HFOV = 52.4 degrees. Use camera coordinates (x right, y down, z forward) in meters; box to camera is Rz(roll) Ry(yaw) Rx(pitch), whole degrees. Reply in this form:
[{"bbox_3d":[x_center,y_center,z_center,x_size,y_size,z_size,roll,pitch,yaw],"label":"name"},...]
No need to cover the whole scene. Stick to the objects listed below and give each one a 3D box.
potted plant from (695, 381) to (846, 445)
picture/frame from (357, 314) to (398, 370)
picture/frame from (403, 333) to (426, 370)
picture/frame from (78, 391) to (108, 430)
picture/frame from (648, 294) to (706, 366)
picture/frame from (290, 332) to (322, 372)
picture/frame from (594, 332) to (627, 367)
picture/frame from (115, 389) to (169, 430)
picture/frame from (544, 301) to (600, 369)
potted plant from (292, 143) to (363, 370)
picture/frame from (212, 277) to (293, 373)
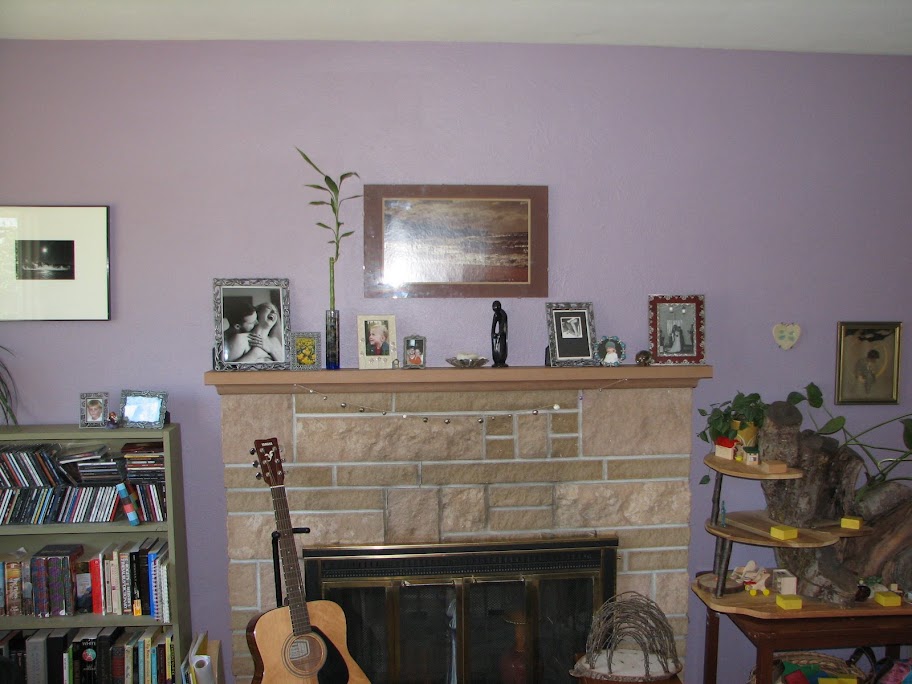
[{"bbox_3d":[1.519,0.352,4.591,0.465,0.161,0.420,1,4,27],"label":"potted plant"},{"bbox_3d":[-0.400,0.001,4.657,0.270,0.368,0.031,0,-7,-10],"label":"picture/frame"},{"bbox_3d":[-0.210,0.048,4.673,0.140,0.241,0.140,0,0,-5],"label":"picture/frame"},{"bbox_3d":[-1.796,0.336,4.593,0.177,0.228,0.017,0,1,-13],"label":"picture/frame"},{"bbox_3d":[1.126,-0.056,4.749,0.353,0.422,0.045,0,-2,1],"label":"picture/frame"},{"bbox_3d":[-0.765,0.045,4.656,0.197,0.247,0.025,0,-2,-14],"label":"picture/frame"},{"bbox_3d":[0.778,0.042,4.745,0.176,0.176,0.024,-1,-6,-10],"label":"picture/frame"},{"bbox_3d":[-1.563,0.334,4.610,0.190,0.158,0.020,0,-9,-3],"label":"picture/frame"},{"bbox_3d":[0.583,-0.034,4.719,0.340,0.406,0.043,0,-10,-6],"label":"picture/frame"},{"bbox_3d":[-0.627,-0.434,4.703,0.321,1.129,0.220,-2,3,-10],"label":"potted plant"},{"bbox_3d":[-1.024,-0.076,4.627,0.460,0.548,0.040,0,-4,-11],"label":"picture/frame"}]
